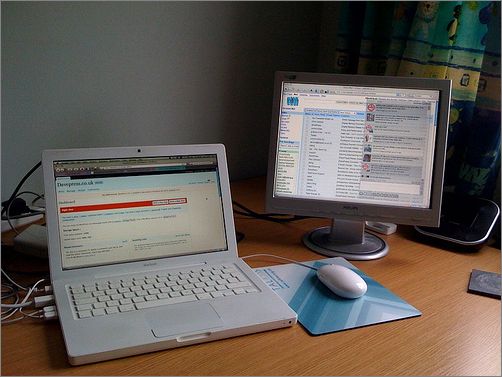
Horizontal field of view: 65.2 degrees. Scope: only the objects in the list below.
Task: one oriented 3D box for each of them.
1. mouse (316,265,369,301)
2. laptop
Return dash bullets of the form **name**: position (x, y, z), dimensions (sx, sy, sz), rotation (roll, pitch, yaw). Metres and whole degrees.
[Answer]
- **mouse**: position (0.199, 0.203, 0.853), dimensions (0.060, 0.030, 0.094), rotation (-17, 28, -31)
- **laptop**: position (-0.199, 0.120, 0.806), dimensions (0.499, 0.304, 0.435), rotation (-7, 28, -25)
